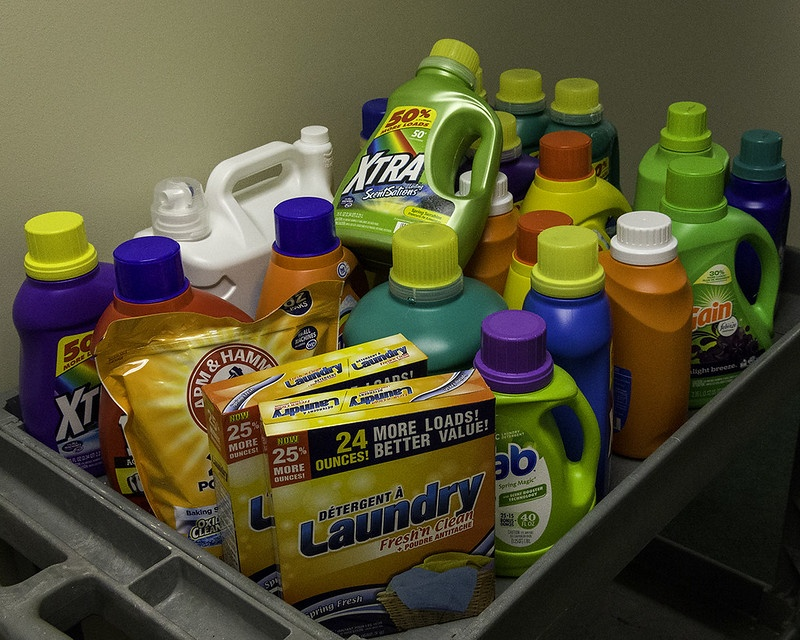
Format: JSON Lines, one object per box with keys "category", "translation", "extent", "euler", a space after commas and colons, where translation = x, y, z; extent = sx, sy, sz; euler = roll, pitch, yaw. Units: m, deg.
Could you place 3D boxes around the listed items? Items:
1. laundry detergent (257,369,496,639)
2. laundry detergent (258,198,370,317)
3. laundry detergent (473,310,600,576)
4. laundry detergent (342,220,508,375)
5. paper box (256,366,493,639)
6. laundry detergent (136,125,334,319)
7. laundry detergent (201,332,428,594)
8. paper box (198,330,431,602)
{"category": "laundry detergent", "translation": [-0.021, 0.122, 0.471], "extent": [0.164, 0.174, 0.056], "euler": [-12, 27, -22]}
{"category": "laundry detergent", "translation": [-0.078, -0.058, 0.642], "extent": [0.089, 0.118, 0.051], "euler": [-15, 26, -17]}
{"category": "laundry detergent", "translation": [0.102, 0.102, 0.563], "extent": [0.131, 0.211, 0.076], "euler": [-4, 24, -3]}
{"category": "laundry detergent", "translation": [0.024, -0.012, 0.614], "extent": [0.144, 0.137, 0.141], "euler": [-1, 27, 1]}
{"category": "paper box", "translation": [-0.022, 0.121, 0.470], "extent": [0.165, 0.179, 0.057], "euler": [-12, 28, -21]}
{"category": "laundry detergent", "translation": [-0.172, -0.088, 0.811], "extent": [0.223, 0.243, 0.127], "euler": [-30, 53, -32]}
{"category": "laundry detergent", "translation": [-0.056, 0.104, 0.472], "extent": [0.155, 0.153, 0.049], "euler": [-18, 28, -36]}
{"category": "paper box", "translation": [-0.057, 0.107, 0.473], "extent": [0.161, 0.156, 0.051], "euler": [-19, 29, -36]}
